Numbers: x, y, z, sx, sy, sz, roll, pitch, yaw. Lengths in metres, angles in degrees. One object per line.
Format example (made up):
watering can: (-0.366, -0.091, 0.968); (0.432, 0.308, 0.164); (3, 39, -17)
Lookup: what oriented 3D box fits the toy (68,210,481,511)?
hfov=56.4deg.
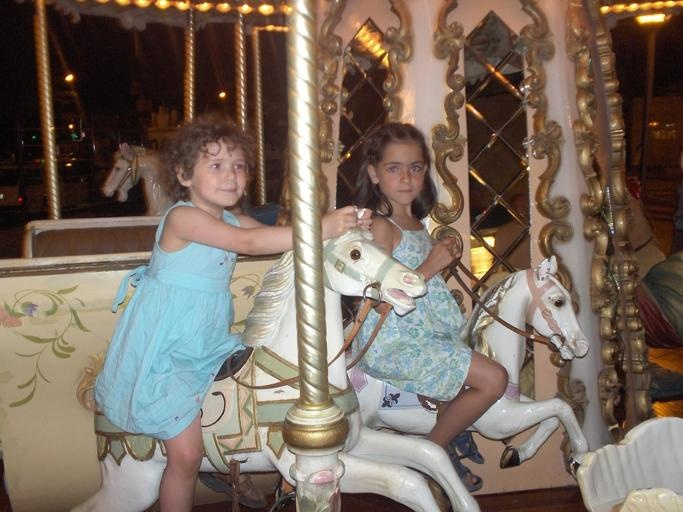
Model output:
toy: (-0.256, 0.546, 2.795); (1.714, 1.280, 0.448); (2, 12, 13)
